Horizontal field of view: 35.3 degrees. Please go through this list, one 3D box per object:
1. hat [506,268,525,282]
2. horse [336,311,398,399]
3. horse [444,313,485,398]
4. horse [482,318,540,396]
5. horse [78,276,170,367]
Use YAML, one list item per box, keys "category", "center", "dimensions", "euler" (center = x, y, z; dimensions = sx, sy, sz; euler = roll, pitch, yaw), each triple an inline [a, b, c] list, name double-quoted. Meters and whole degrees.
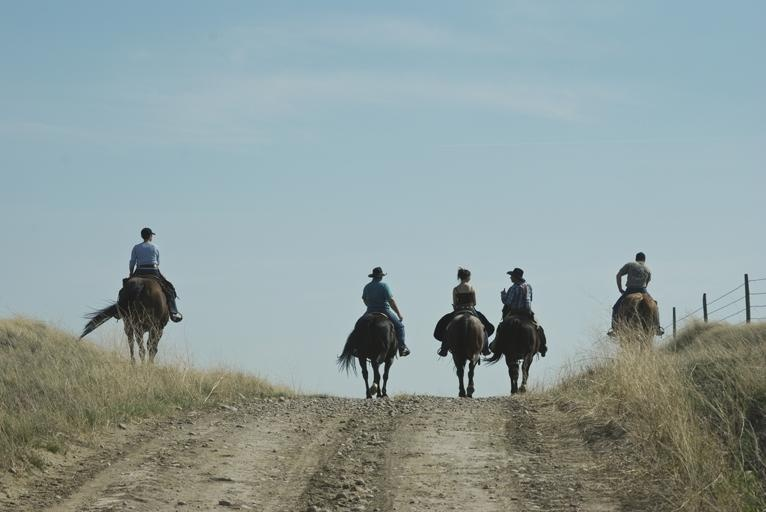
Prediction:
- category: "hat"
  center: [3.381, 0.484, 30.499]
  dimensions: [0.335, 0.382, 0.217]
  euler: [7, 14, 31]
- category: "horse"
  center: [-0.307, 2.552, 31.408]
  dimensions: [1.387, 2.042, 0.878]
  euler: [0, 12, 1]
- category: "horse"
  center: [2.077, 2.510, 30.581]
  dimensions: [1.043, 2.015, 1.181]
  euler: [1, 12, 5]
- category: "horse"
  center: [3.388, 2.476, 30.344]
  dimensions: [1.208, 1.842, 1.302]
  euler: [0, 12, 2]
- category: "horse"
  center: [-6.453, 1.670, 31.185]
  dimensions: [1.750, 2.058, 1.759]
  euler: [-3, 12, -11]
